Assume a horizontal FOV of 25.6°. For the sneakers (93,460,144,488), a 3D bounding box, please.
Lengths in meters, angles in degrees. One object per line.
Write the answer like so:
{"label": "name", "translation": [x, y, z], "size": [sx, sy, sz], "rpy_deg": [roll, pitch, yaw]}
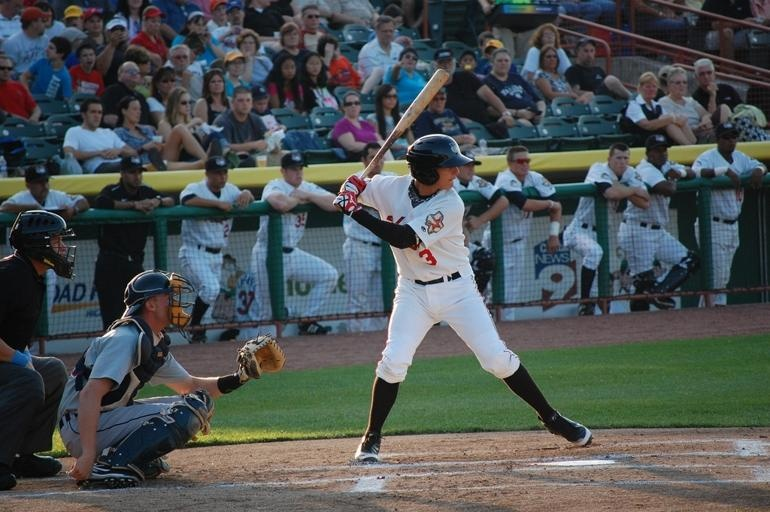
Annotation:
{"label": "sneakers", "translation": [-2.770, 2.277, 17.421], "size": [0.516, 0.256, 0.113], "rpy_deg": [0, 1, -7]}

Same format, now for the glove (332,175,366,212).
{"label": "glove", "translation": [-0.421, -0.659, 18.084], "size": [0.282, 0.428, 0.173], "rpy_deg": [42, -35, -15]}

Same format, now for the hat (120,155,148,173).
{"label": "hat", "translation": [-3.276, -1.189, 21.744], "size": [0.208, 0.134, 0.276], "rpy_deg": [5, -1, -32]}

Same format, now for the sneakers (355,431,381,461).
{"label": "sneakers", "translation": [-0.200, 2.047, 17.905], "size": [0.261, 0.303, 0.173], "rpy_deg": [0, 1, -1]}

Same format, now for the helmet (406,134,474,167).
{"label": "helmet", "translation": [0.553, -1.114, 17.944], "size": [0.542, 0.226, 0.371], "rpy_deg": [-3, 9, 1]}

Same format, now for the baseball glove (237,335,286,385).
{"label": "baseball glove", "translation": [-1.332, 1.073, 17.942], "size": [0.561, 0.276, 0.401], "rpy_deg": [-26, -46, 10]}

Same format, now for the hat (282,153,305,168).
{"label": "hat", "translation": [-1.238, -1.263, 22.241], "size": [0.309, 0.210, 0.234], "rpy_deg": [0, 1, 4]}

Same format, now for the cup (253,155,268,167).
{"label": "cup", "translation": [-1.670, -1.273, 22.682], "size": [0.157, 0.151, 0.149], "rpy_deg": [1, 0, 0]}

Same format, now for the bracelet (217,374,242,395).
{"label": "bracelet", "translation": [-1.642, 1.369, 17.995], "size": [0.292, 0.158, 0.119], "rpy_deg": [-7, 4, 15]}

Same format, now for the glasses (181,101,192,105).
{"label": "glasses", "translation": [-2.636, -2.046, 22.415], "size": [0.043, 0.066, 0.172], "rpy_deg": [1, 1, 33]}

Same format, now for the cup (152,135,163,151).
{"label": "cup", "translation": [-2.980, -1.512, 22.338], "size": [0.149, 0.153, 0.179], "rpy_deg": [-8, 4, -31]}

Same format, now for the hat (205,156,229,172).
{"label": "hat", "translation": [-2.204, -1.199, 21.985], "size": [0.272, 0.205, 0.197], "rpy_deg": [0, 1, -5]}

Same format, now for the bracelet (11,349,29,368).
{"label": "bracelet", "translation": [-3.815, 1.106, 17.851], "size": [0.142, 0.146, 0.177], "rpy_deg": [23, 5, 2]}
